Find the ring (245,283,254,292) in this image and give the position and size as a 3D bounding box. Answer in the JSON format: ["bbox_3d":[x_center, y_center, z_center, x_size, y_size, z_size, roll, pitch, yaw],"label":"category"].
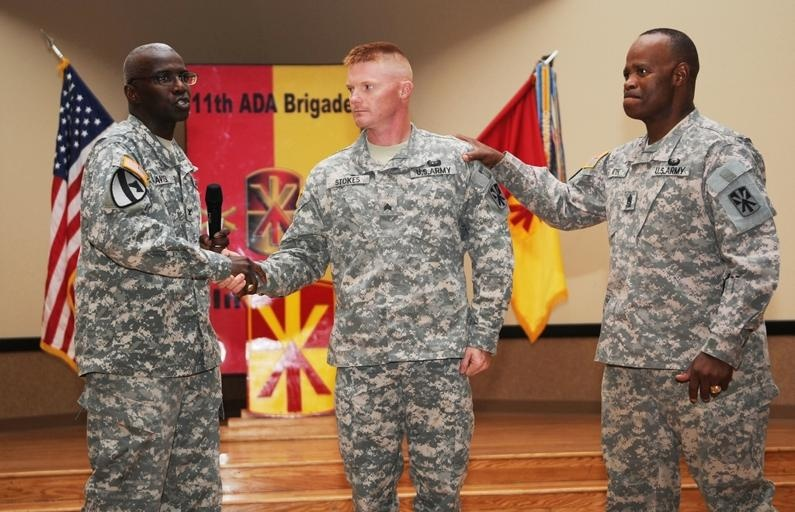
[{"bbox_3d":[-0.793,0.176,4.867,0.046,0.040,0.026,-3,5,3],"label":"ring"}]

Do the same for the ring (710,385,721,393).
[{"bbox_3d":[1.632,0.683,4.586,0.067,0.047,0.033,-1,3,-41],"label":"ring"}]
